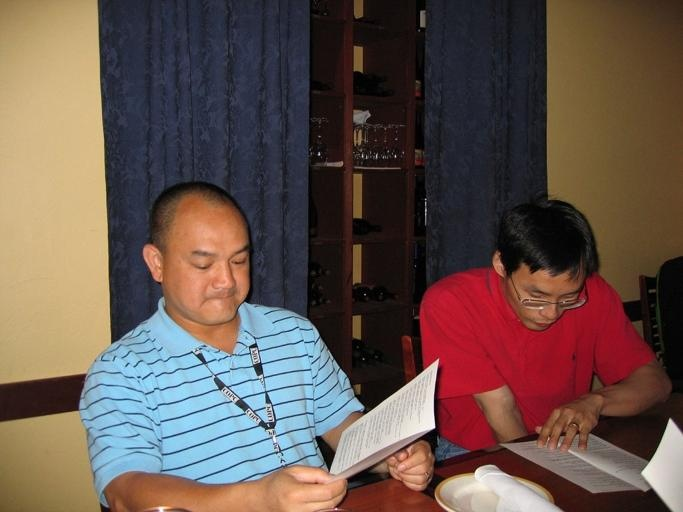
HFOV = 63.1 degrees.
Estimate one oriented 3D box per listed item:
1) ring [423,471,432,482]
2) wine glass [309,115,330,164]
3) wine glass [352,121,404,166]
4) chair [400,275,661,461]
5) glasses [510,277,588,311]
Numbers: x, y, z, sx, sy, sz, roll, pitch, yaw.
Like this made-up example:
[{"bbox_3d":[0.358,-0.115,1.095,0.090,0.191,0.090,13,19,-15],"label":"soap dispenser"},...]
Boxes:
[{"bbox_3d":[0.246,0.614,1.554,0.021,0.011,0.030,2,21,4],"label":"ring"},{"bbox_3d":[-0.131,-0.695,3.325,0.140,0.285,0.060,-7,9,-19],"label":"wine glass"},{"bbox_3d":[0.232,-0.706,3.525,0.301,0.309,0.169,-2,1,-29],"label":"wine glass"},{"bbox_3d":[0.710,0.314,2.316,0.877,0.895,0.625,-6,16,-14],"label":"chair"},{"bbox_3d":[0.756,0.136,1.985,0.273,0.123,0.092,-6,8,-6],"label":"glasses"}]
